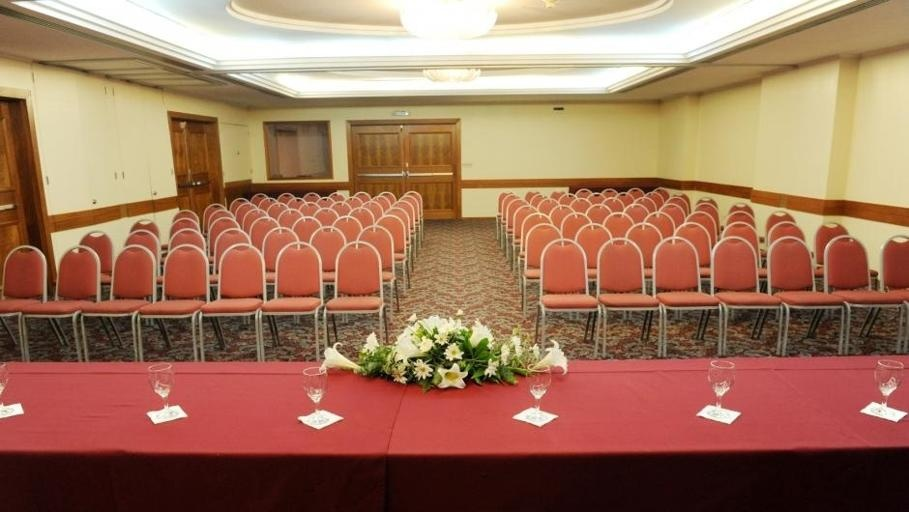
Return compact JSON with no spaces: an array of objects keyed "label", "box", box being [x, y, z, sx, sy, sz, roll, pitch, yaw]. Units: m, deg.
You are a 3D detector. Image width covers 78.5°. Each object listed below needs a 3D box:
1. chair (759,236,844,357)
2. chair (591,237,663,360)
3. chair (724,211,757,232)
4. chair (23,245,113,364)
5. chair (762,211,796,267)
[{"label":"chair","box":[4.589,0.483,7.339,0.857,1.424,1.312,3,8,24]},{"label":"chair","box":[2.299,0.494,7.440,0.806,1.420,1.528,2,8,18]},{"label":"chair","box":[4.865,-0.631,9.531,0.521,0.344,0.501,-5,8,-37]},{"label":"chair","box":[-5.050,0.586,7.272,0.844,1.400,1.197,-2,8,-8]},{"label":"chair","box":[5.165,-0.309,8.952,0.570,0.770,0.581,-6,7,31]}]
